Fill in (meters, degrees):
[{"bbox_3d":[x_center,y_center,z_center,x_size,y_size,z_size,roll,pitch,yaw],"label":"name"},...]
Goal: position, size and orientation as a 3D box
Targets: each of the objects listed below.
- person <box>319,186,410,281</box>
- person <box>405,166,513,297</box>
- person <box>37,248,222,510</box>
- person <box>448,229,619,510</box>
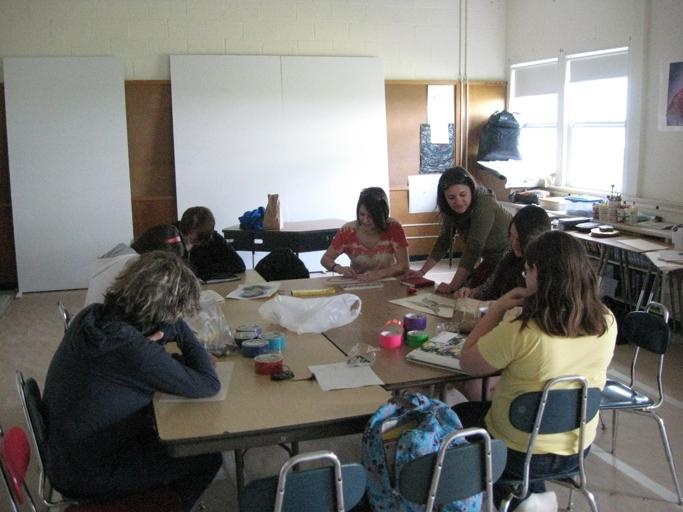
[{"bbox_3d":[0.171,-0.075,4.178,0.610,0.835,0.553,-2,30,-3],"label":"person"},{"bbox_3d":[0.932,-0.207,4.045,0.864,0.868,0.477,-16,22,-38],"label":"person"},{"bbox_3d":[-1.217,0.440,3.263,0.513,1.322,0.450,5,-7,-5],"label":"person"},{"bbox_3d":[0.861,0.551,2.465,0.672,1.309,0.459,0,14,12],"label":"person"}]
